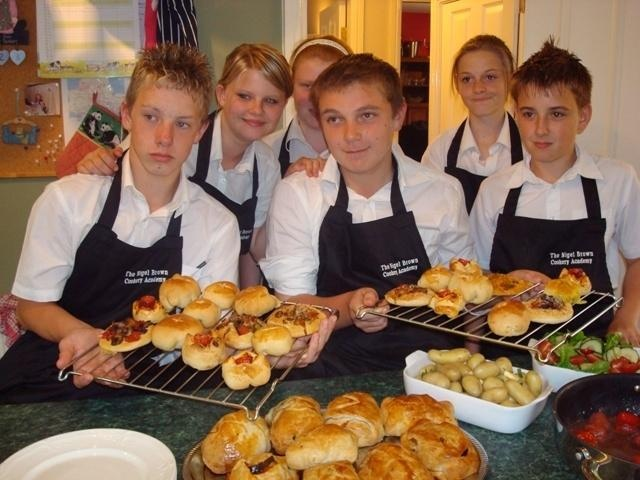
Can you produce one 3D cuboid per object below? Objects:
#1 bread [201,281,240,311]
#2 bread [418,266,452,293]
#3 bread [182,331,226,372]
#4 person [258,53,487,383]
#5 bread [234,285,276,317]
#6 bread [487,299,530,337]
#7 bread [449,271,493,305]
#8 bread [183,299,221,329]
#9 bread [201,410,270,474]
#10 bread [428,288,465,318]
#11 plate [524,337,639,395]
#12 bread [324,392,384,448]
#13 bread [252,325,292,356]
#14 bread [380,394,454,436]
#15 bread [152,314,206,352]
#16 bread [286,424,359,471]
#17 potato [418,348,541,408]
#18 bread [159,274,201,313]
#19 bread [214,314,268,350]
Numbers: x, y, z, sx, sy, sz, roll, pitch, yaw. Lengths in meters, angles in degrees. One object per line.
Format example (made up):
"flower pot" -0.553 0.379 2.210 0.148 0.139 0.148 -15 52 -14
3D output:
"bread" -0.441 0.224 2.195 0.132 0.075 0.132 9 24 -5
"bread" 0.561 0.179 2.372 0.115 0.050 0.126 5 31 44
"bread" -0.440 0.399 1.853 0.200 0.076 0.215 2 24 -10
"person" 0.273 -0.161 2.669 1.140 1.630 0.990 -9 19 -20
"bread" -0.286 0.277 2.133 0.145 0.049 0.138 5 27 14
"bread" 0.782 0.306 2.044 0.170 0.108 0.180 1 38 29
"bread" 0.712 0.247 2.321 0.195 0.106 0.240 16 -6 -40
"bread" -0.478 0.296 2.040 0.115 0.077 0.117 30 9 39
"bread" -0.235 0.570 1.434 0.142 0.071 0.194 19 39 33
"bread" 0.546 0.265 2.118 0.111 0.044 0.122 4 32 19
"plate" 0.901 0.455 1.819 0.267 0.079 0.162 -6 19 -12
"bread" 0.115 0.528 1.486 0.114 0.058 0.160 9 6 2
"bread" -0.186 0.358 1.886 0.121 0.062 0.115 -4 21 -20
"bread" 0.302 0.526 1.525 0.166 0.051 0.124 -5 15 -17
"bread" -0.600 0.369 1.925 0.196 0.099 0.202 7 -11 12
"bread" 0.002 0.562 1.351 0.159 0.058 0.117 -3 9 -28
"potato" 0.568 0.491 1.758 0.313 0.096 0.173 6 12 33
"bread" -0.632 0.214 2.211 0.192 0.074 0.222 0 33 -11
"bread" -0.305 0.377 1.985 0.194 0.067 0.184 9 16 26
